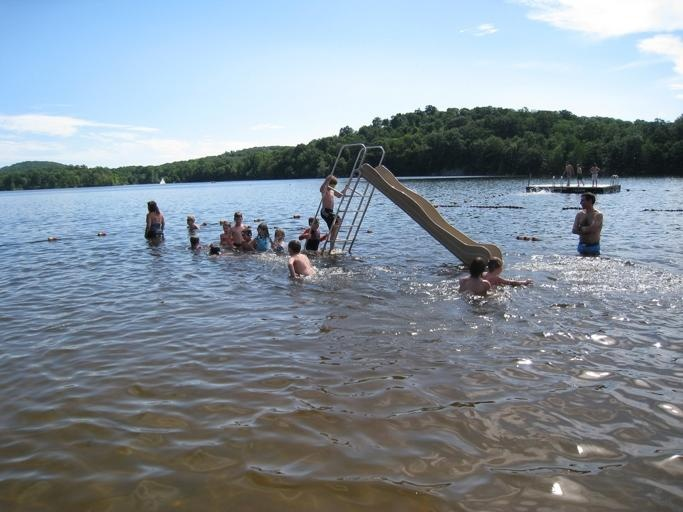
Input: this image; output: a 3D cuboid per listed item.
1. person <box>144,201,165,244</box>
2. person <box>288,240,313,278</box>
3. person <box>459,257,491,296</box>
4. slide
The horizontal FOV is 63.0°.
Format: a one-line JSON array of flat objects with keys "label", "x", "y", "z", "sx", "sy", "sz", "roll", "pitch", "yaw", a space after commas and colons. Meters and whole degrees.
[{"label": "person", "x": -6.539, "y": -1.200, "z": 19.373, "sx": 0.590, "sy": 1.372, "sz": 1.139, "roll": -2, "pitch": 9, "yaw": -18}, {"label": "person", "x": -0.938, "y": 0.049, "z": 12.801, "sx": 0.592, "sy": 0.816, "sz": 0.813, "roll": 0, "pitch": 9, "yaw": -4}, {"label": "person", "x": 2.747, "y": 0.450, "z": 11.383, "sx": 0.639, "sy": 0.761, "sz": 0.517, "roll": 15, "pitch": 29, "yaw": 31}, {"label": "slide", "x": 2.138, "y": -1.180, "z": 14.702, "sx": 1.591, "sy": 2.516, "sz": 4.352, "roll": -4, "pitch": 9, "yaw": -28}]
